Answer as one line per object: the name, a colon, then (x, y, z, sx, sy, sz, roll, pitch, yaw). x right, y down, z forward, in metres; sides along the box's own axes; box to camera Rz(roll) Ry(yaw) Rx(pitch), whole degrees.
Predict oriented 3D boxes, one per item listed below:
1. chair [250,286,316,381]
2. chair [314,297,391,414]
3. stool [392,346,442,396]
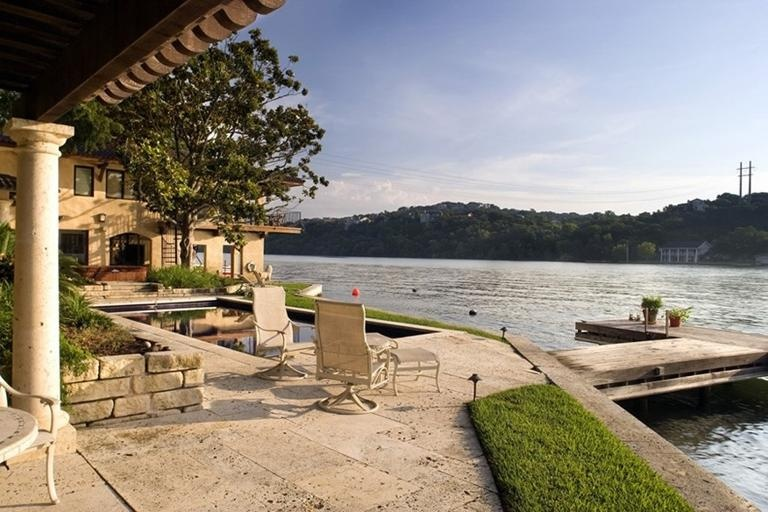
chair: (-1.922, 1.392, 9.120, 0.991, 1.542, 1.292, 1, 5, -15)
chair: (-0.459, 1.559, 7.733, 1.337, 1.580, 1.281, 9, -9, -36)
stool: (0.443, 1.854, 8.519, 0.838, 0.644, 0.909, -1, 12, -18)
